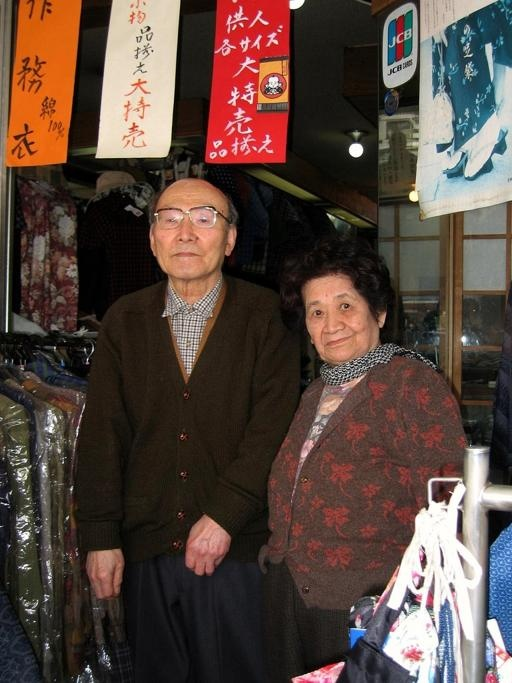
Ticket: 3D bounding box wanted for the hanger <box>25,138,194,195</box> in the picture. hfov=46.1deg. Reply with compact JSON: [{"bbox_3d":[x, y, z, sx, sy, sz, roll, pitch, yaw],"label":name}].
[{"bbox_3d":[-0.565,-0.679,2.333,0.465,0.093,0.410,3,8,8],"label":"hanger"}]
